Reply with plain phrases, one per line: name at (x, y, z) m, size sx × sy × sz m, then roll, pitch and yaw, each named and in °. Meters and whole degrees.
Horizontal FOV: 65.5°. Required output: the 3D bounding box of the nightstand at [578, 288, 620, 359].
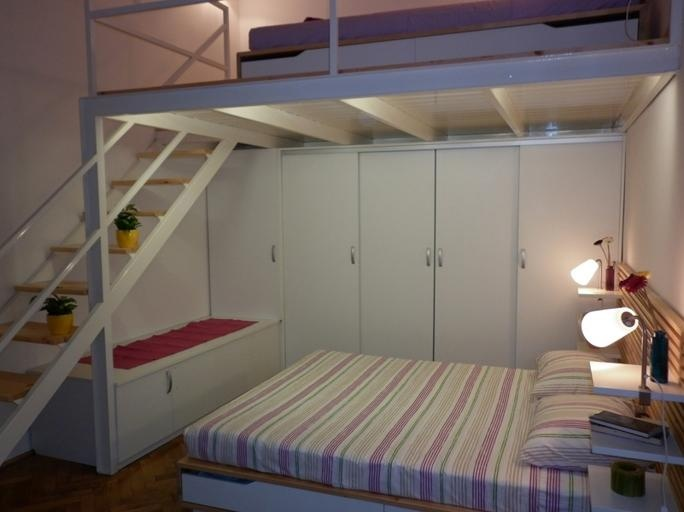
nightstand at (1.695, 0.446, 3.489) m, size 0.266 × 0.491 × 0.511 m, roll 1°, pitch 7°, yaw 17°

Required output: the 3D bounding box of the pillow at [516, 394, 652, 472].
pillow at (1.201, 0.952, 2.827) m, size 0.394 × 0.102 × 0.423 m, roll -3°, pitch 26°, yaw 38°

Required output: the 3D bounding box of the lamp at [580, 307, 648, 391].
lamp at (1.370, 0.361, 2.698) m, size 0.273 × 0.226 × 0.259 m, roll 41°, pitch -43°, yaw -9°
